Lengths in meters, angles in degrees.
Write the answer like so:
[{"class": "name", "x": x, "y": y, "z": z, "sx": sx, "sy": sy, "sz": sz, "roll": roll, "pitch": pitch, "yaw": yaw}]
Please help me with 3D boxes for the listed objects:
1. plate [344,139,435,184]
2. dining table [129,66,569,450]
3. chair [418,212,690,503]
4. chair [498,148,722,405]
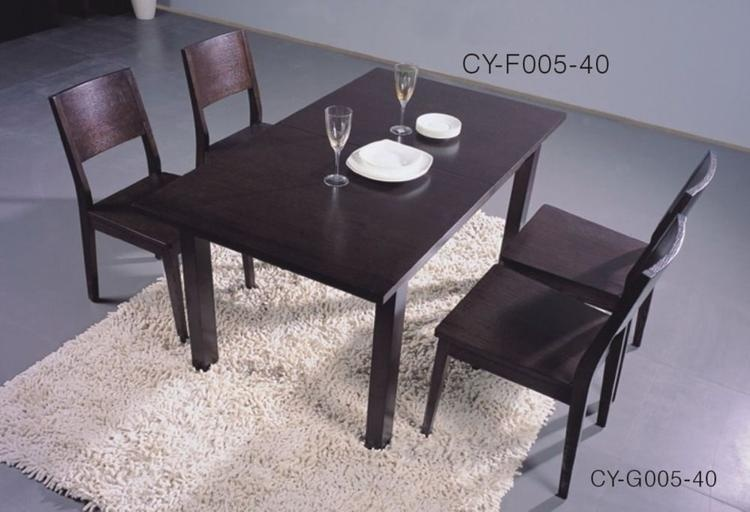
[{"class": "plate", "x": 0.077, "y": -0.410, "z": 2.746, "sx": 0.240, "sy": 0.061, "sz": 0.245, "roll": 21, "pitch": 41, "yaw": 27}, {"class": "dining table", "x": -0.161, "y": 0.180, "z": 2.694, "sx": 1.276, "sy": 0.642, "sz": 0.836, "roll": 18, "pitch": 27, "yaw": 42}, {"class": "chair", "x": 0.705, "y": 0.332, "z": 2.615, "sx": 0.773, "sy": 1.130, "sz": 0.621, "roll": 20, "pitch": 37, "yaw": 29}, {"class": "chair", "x": 0.964, "y": 0.142, "z": 2.973, "sx": 0.717, "sy": 0.962, "sz": 0.635, "roll": 19, "pitch": 3, "yaw": 4}]
